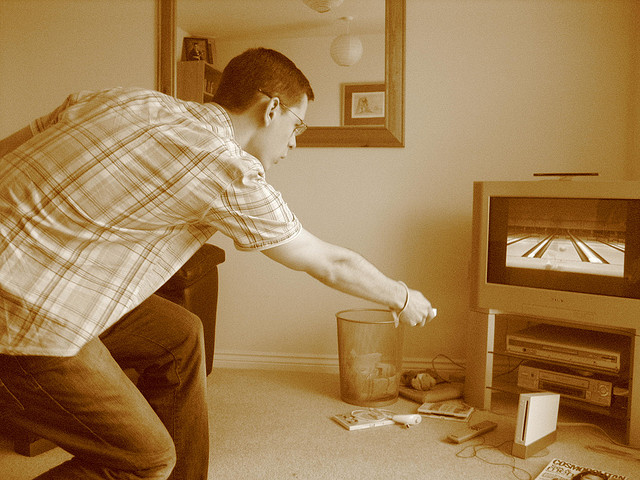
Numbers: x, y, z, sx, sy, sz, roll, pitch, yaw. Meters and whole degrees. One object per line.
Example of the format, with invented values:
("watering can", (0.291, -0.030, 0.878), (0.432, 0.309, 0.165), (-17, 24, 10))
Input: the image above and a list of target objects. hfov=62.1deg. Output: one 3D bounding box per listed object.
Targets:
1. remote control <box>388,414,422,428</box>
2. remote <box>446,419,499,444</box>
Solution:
("remote control", (0.419, 0.863, 2.573), (0.134, 0.045, 0.056), (-1, -29, 47))
("remote", (0.710, 0.890, 2.468), (0.298, 0.034, 0.084), (-7, 8, -44))
